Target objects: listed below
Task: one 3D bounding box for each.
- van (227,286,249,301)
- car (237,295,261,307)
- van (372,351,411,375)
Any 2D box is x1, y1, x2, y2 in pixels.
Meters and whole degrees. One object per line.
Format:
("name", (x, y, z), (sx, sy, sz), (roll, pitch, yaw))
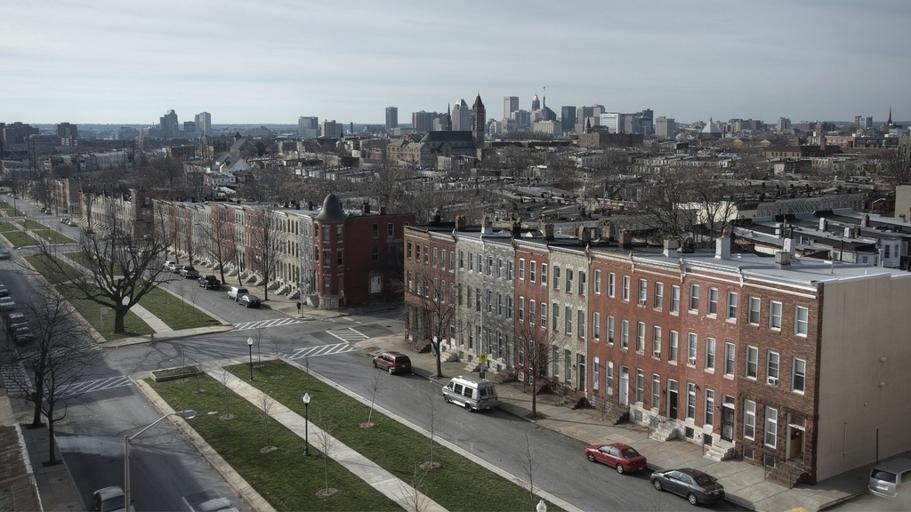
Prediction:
("van", (-33.643, 6.082, 136.698), (1.941, 1.573, 3.371), (-5, 15, -31))
("car", (-31.277, 6.750, 133.155), (1.680, 1.780, 3.586), (-10, 12, -41))
("van", (-7.517, 12.895, 105.325), (4.151, 2.382, 2.005), (4, 11, 35))
